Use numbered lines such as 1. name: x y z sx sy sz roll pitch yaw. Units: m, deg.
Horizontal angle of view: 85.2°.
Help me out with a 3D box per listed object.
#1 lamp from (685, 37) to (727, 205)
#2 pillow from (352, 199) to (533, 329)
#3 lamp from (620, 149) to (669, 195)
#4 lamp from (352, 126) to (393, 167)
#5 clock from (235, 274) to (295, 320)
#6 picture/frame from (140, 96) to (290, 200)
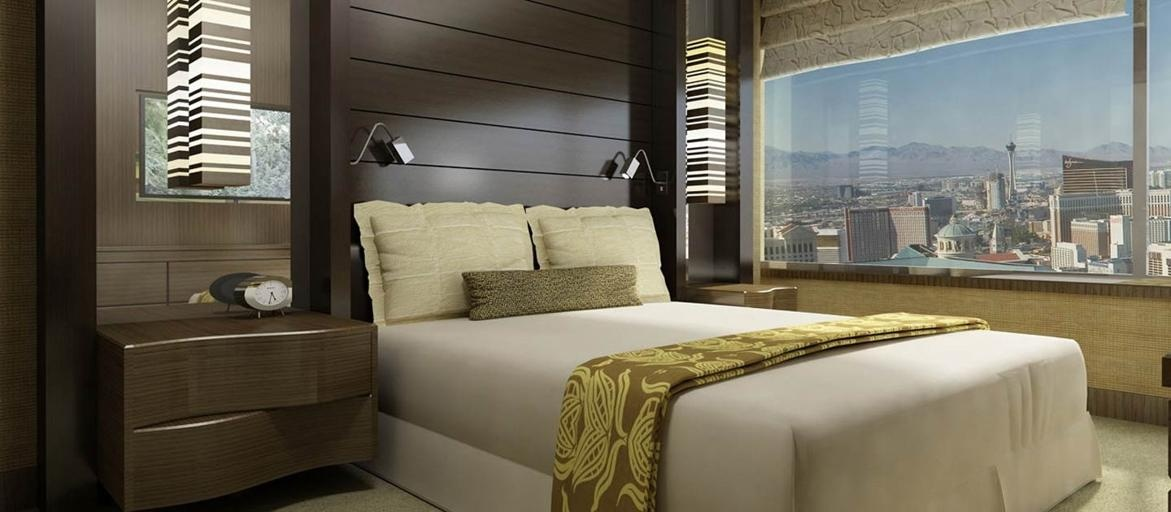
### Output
1. lamp: 1.239 -1.410 6.606 0.439 1.674 0.254 -2 6 7
2. pillow: -1.251 0.094 5.345 1.381 0.699 0.284 -3 -7 -23
3. lamp: 0.614 -0.897 6.671 0.486 0.455 0.185 -2 5 1
4. lamp: -1.847 -0.957 5.507 0.104 0.353 0.252 -4 -26 42
5. clock: -2.529 0.292 5.009 0.253 0.278 0.388 8 5 25
6. picture/frame: -2.911 -0.841 4.914 1.099 0.602 0.038 -1 2 -41
